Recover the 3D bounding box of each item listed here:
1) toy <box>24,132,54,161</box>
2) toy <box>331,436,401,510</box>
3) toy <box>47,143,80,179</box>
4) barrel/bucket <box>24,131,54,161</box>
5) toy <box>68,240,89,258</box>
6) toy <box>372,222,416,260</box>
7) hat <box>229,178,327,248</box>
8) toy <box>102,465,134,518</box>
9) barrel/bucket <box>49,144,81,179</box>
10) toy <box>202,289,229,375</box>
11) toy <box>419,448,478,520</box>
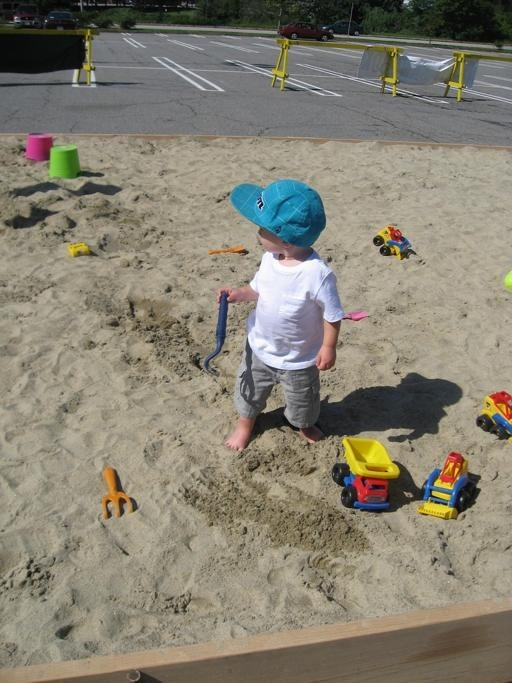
[{"bbox_3d":[-2.594,-2.305,7.315,0.291,0.297,0.278,1,26,-20],"label":"toy"},{"bbox_3d":[0.482,0.609,2.877,0.253,0.226,0.380,1,22,-4],"label":"toy"},{"bbox_3d":[-2.074,-1.973,6.849,0.417,0.362,0.368,2,39,-9],"label":"toy"},{"bbox_3d":[-2.594,-2.305,7.315,0.291,0.297,0.278,8,24,-4],"label":"barrel/bucket"},{"bbox_3d":[-1.532,-0.799,5.252,0.167,0.065,0.156,-14,37,-24],"label":"toy"},{"bbox_3d":[1.207,-0.885,5.462,0.236,0.198,0.414,-32,50,-29],"label":"toy"},{"bbox_3d":[0.088,-0.579,2.712,0.275,0.287,0.475,-9,29,-35],"label":"hat"},{"bbox_3d":[-0.661,0.689,2.856,0.129,0.046,0.277,-8,34,-16],"label":"toy"},{"bbox_3d":[-2.081,-1.991,6.864,0.413,0.360,0.364,-1,41,-14],"label":"barrel/bucket"},{"bbox_3d":[-0.220,-0.027,3.271,0.138,0.558,0.082,16,30,9],"label":"toy"},{"bbox_3d":[0.891,0.651,2.845,0.231,0.191,0.307,11,28,26],"label":"toy"}]
